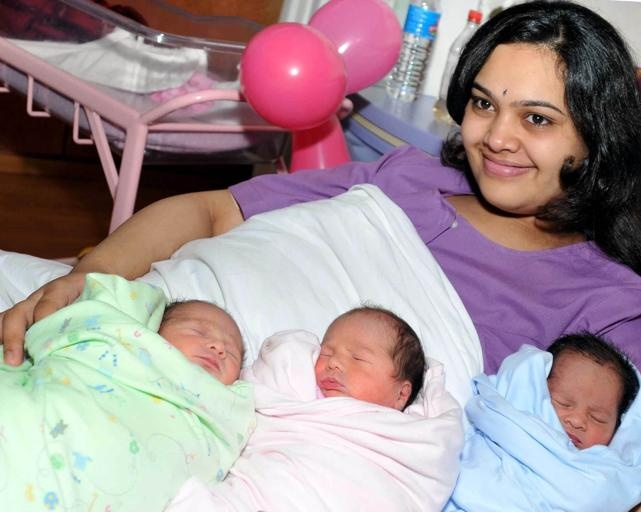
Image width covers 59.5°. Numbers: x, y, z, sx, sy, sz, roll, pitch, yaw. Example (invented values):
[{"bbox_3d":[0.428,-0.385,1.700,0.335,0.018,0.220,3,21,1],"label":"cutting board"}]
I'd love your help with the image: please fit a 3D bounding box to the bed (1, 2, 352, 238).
[{"bbox_3d":[-0.520,-0.421,1.728,0.597,0.505,1.171,-4,40,-44],"label":"bed"}]
